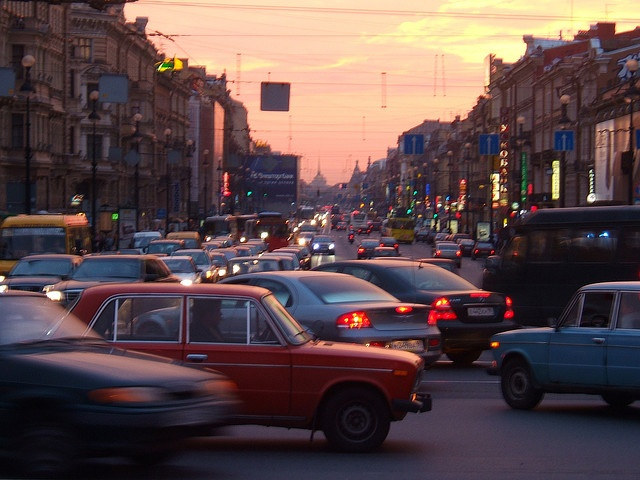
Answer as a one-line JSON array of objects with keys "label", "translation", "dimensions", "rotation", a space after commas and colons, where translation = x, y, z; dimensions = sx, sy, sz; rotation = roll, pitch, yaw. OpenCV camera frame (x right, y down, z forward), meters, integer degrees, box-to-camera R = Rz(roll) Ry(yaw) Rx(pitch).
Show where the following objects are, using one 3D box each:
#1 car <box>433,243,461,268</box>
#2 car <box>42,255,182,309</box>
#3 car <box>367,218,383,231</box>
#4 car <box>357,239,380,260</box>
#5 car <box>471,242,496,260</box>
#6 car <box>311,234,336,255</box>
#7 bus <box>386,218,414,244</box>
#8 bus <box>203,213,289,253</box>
[{"label": "car", "translation": [6.931, 0.797, 52.972], "dimensions": [1.384, 0.777, 2.555], "rotation": [0, 4, 1]}, {"label": "car", "translation": [-4.903, 0.940, 22.637], "dimensions": [1.493, 0.811, 2.855], "rotation": [-1, -2, 9]}, {"label": "car", "translation": [7.797, -1.834, 136.084], "dimensions": [1.767, 1.096, 2.616], "rotation": [1, 8, 6]}, {"label": "car", "translation": [2.617, 0.538, 52.974], "dimensions": [1.219, 0.708, 2.416], "rotation": [0, 6, 3]}, {"label": "car", "translation": [10.692, 0.751, 64.162], "dimensions": [1.131, 0.655, 2.284], "rotation": [-1, 7, 5]}, {"label": "car", "translation": [0.169, 0.391, 66.921], "dimensions": [1.424, 0.929, 2.750], "rotation": [0, 8, -2]}, {"label": "bus", "translation": [7.572, -0.647, 90.320], "dimensions": [2.243, 2.740, 3.070], "rotation": [-6, 10, -6]}, {"label": "bus", "translation": [-4.557, -0.420, 69.913], "dimensions": [9.267, 2.477, 2.769], "rotation": [3, 6, 42]}]
